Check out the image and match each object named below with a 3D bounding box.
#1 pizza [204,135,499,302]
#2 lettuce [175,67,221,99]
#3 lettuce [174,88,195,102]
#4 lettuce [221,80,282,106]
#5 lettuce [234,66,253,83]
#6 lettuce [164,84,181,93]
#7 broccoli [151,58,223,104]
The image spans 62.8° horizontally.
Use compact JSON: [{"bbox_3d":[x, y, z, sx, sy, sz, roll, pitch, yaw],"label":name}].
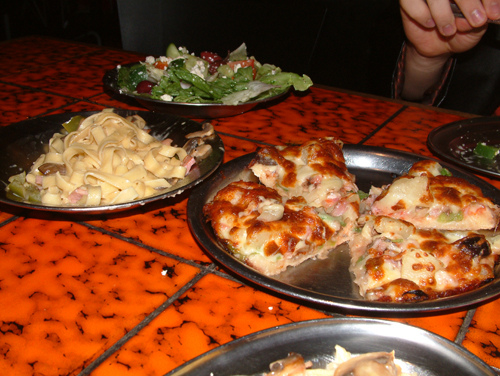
[{"bbox_3d":[0.350,0.069,1.306,0.827,0.165,0.717,26,42,26],"label":"pizza"},{"bbox_3d":[-0.279,-0.539,2.122,0.289,0.092,0.068,30,47,29],"label":"lettuce"},{"bbox_3d":[-0.342,-0.483,2.112,0.120,0.024,0.092,5,51,0],"label":"lettuce"},{"bbox_3d":[0.005,-0.473,2.041,0.108,0.058,0.422,26,42,25],"label":"lettuce"},{"bbox_3d":[-0.034,-0.630,2.282,0.121,0.030,0.101,-22,54,-20],"label":"lettuce"},{"bbox_3d":[-0.409,-0.522,2.153,0.062,0.016,0.054,3,39,29],"label":"lettuce"},{"bbox_3d":[-0.342,-0.526,2.149,0.350,0.096,0.273,26,78,6],"label":"broccoli"}]
